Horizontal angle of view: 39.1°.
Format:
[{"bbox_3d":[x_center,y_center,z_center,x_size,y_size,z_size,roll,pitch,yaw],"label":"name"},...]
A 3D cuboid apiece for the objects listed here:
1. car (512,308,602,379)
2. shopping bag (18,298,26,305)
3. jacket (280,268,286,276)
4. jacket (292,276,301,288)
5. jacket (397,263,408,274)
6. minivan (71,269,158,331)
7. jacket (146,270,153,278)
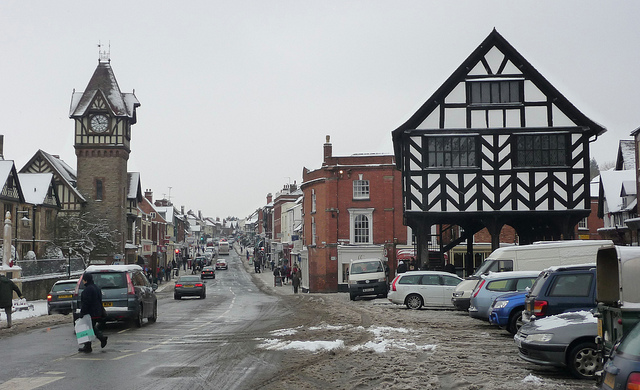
[{"bbox_3d":[10.320,6.529,36.781,2.880,3.097,4.707,0,0,-23],"label":"car"},{"bbox_3d":[-17.584,6.319,53.451,0.472,0.226,0.303,-15,-11,39],"label":"shopping bag"},{"bbox_3d":[-3.397,7.264,84.830,0.479,0.703,1.495,-1,-7,-10],"label":"jacket"},{"bbox_3d":[-1.783,6.692,69.229,0.888,1.086,0.643,1,-10,-6],"label":"jacket"},{"bbox_3d":[5.757,5.073,62.120,0.711,0.677,0.699,1,-7,-5],"label":"jacket"},{"bbox_3d":[-10.706,5.387,47.942,3.977,2.907,7.879,-1,-4,-4],"label":"minivan"},{"bbox_3d":[-14.918,6.984,79.039,0.696,0.895,0.681,0,5,-10],"label":"jacket"}]
